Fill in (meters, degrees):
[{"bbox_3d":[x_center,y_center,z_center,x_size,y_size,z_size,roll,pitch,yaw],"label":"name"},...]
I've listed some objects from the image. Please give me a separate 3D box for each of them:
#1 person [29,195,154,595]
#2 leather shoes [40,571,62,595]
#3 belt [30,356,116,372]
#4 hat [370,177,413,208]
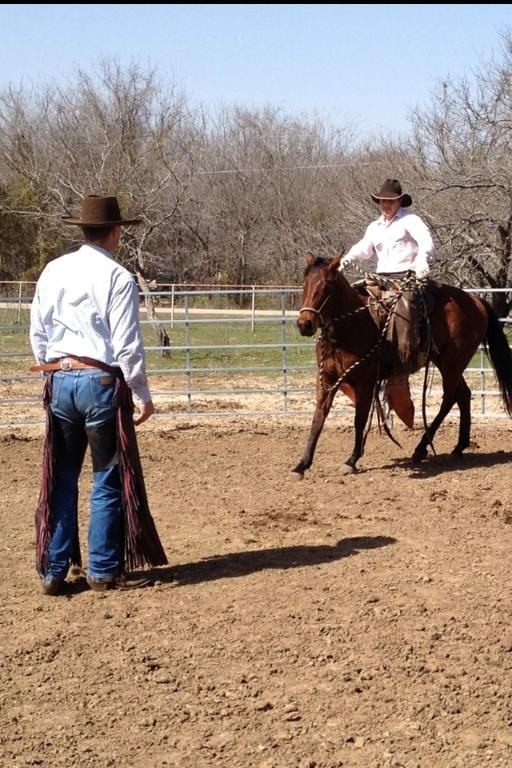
[{"bbox_3d":[-0.781,0.068,3.631,0.694,1.922,0.322,-1,9,18],"label":"person"},{"bbox_3d":[-0.984,0.984,3.700,0.081,0.117,0.117,-2,21,-8],"label":"leather shoes"},{"bbox_3d":[-0.882,-0.089,3.577,0.491,0.093,0.129,2,9,33],"label":"belt"},{"bbox_3d":[1.128,-1.547,6.131,0.242,0.139,0.342,6,-10,23],"label":"hat"}]
